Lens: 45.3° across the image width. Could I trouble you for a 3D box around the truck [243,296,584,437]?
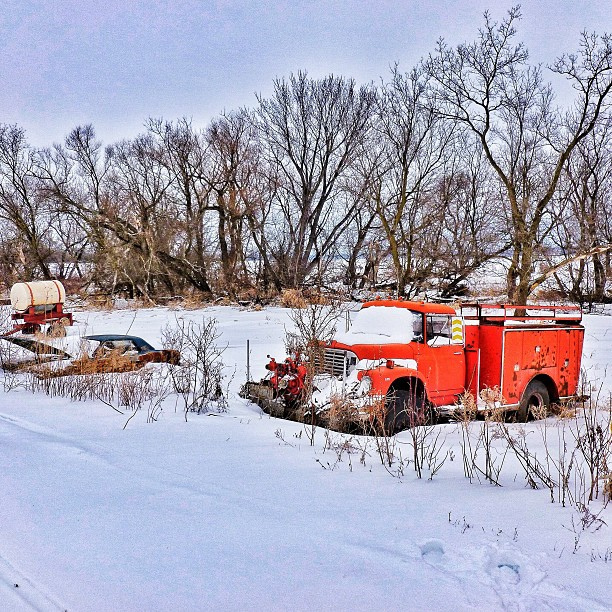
[{"bbox_3d":[2.005,0.950,11.303,4.283,1.896,2.573,4,-6,-36],"label":"truck"}]
